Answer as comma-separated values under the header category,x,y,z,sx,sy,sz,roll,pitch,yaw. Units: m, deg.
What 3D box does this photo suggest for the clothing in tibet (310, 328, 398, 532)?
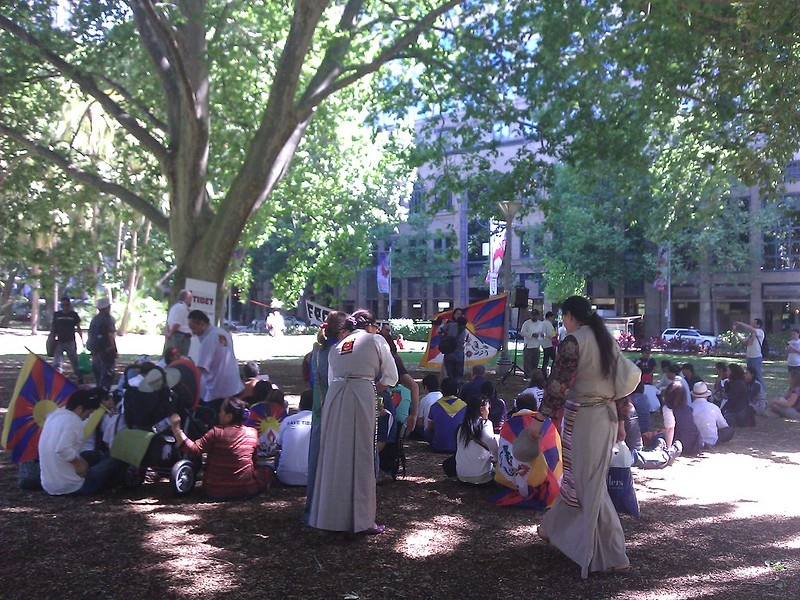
category,x,y,z,sx,sy,sz,roll,pitch,yaw
clothing in tibet,-0.537,1.410,7.888,0.872,2.095,0.537,1,7,-1

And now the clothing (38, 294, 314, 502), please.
category,x,y,z,sx,sy,sz,roll,pitch,yaw
clothing,-2.895,1.267,11.776,1.899,3.456,4.819,5,10,39

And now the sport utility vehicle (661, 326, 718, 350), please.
category,x,y,z,sx,sy,sz,roll,pitch,yaw
sport utility vehicle,15.923,2.277,39.545,3.307,1.292,1.542,-1,2,26

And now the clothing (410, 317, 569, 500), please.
category,x,y,z,sx,sy,sz,roll,pitch,yaw
clothing,1.428,1.753,9.558,1.380,1.734,1.280,2,2,22

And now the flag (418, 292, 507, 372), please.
category,x,y,z,sx,sy,sz,roll,pitch,yaw
flag,1.954,0.911,22.124,3.535,3.122,0.303,-2,3,-7

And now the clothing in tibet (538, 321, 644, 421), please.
category,x,y,z,sx,sy,sz,roll,pitch,yaw
clothing in tibet,1.982,0.754,7.447,1.160,0.997,0.540,-4,3,-12

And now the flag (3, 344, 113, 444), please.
category,x,y,z,sx,sy,sz,roll,pitch,yaw
flag,-5.371,1.462,11.445,1.274,1.351,0.175,6,-7,-41

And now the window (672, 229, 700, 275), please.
category,x,y,z,sx,sy,sz,roll,pitch,yaw
window,17.416,-2.936,43.891,1.474,2.811,7.630,4,7,22

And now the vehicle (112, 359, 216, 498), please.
category,x,y,z,sx,sy,sz,roll,pitch,yaw
vehicle,-3.115,1.687,9.709,0.923,1.742,1.473,0,-7,20

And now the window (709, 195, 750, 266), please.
category,x,y,z,sx,sy,sz,roll,pitch,yaw
window,19.728,-3.847,42.706,1.832,4.458,3.606,6,8,32

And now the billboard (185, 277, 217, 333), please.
category,x,y,z,sx,sy,sz,roll,pitch,yaw
billboard,-3.560,0.067,12.795,0.054,1.184,0.861,-17,-21,40

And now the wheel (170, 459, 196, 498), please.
category,x,y,z,sx,sy,sz,roll,pitch,yaw
wheel,-2.769,2.270,9.166,0.097,0.344,0.314,-1,-35,24

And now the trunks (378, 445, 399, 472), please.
category,x,y,z,sx,sy,sz,roll,pitch,yaw
trunks,-0.137,2.153,9.863,0.345,0.376,0.255,11,-5,-32

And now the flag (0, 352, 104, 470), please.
category,x,y,z,sx,sy,sz,roll,pitch,yaw
flag,-5.008,1.600,10.404,0.158,1.647,1.498,0,-3,43
